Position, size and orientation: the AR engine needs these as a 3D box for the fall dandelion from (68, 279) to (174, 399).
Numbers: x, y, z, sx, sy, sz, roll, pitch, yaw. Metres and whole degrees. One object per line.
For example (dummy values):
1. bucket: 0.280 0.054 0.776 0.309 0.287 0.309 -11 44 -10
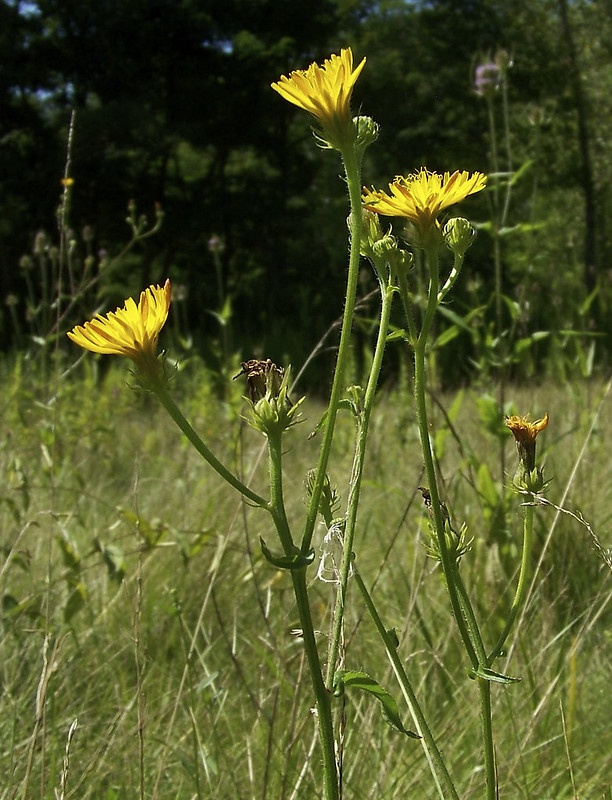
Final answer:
1. fall dandelion: -0.194 -0.069 1.099 0.124 0.089 0.129 -15 11 21

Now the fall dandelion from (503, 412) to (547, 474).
1. fall dandelion: 0.280 0.055 1.211 0.054 0.068 0.055 1 -2 -15

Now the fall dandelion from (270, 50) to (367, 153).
1. fall dandelion: 0.034 -0.330 1.091 0.099 0.097 0.107 2 -5 -43

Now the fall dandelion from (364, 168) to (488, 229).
1. fall dandelion: 0.140 -0.225 1.132 0.115 0.054 0.117 -7 -5 25
